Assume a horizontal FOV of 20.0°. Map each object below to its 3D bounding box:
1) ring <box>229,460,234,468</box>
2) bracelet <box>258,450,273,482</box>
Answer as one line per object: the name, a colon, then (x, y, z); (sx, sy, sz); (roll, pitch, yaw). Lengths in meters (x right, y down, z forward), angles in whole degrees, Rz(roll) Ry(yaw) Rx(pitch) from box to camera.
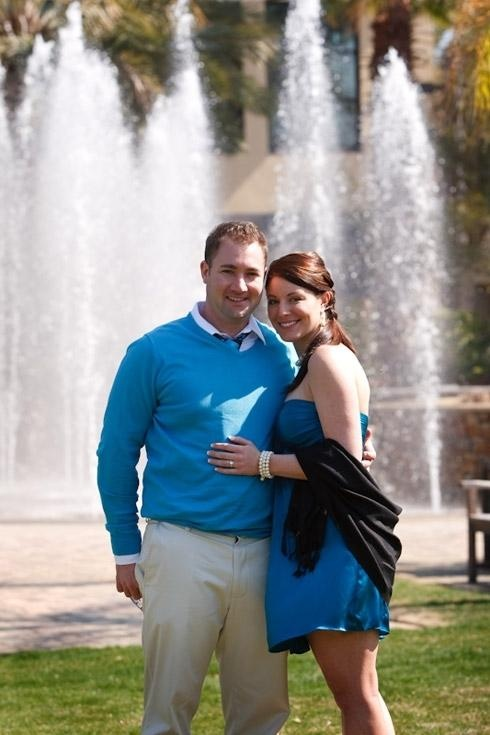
ring: (-0.074, 0.503, 7.368); (0.025, 0.031, 0.012); (0, -8, -6)
bracelet: (0.106, 0.515, 7.454); (0.113, 0.120, 0.123); (1, 13, -1)
